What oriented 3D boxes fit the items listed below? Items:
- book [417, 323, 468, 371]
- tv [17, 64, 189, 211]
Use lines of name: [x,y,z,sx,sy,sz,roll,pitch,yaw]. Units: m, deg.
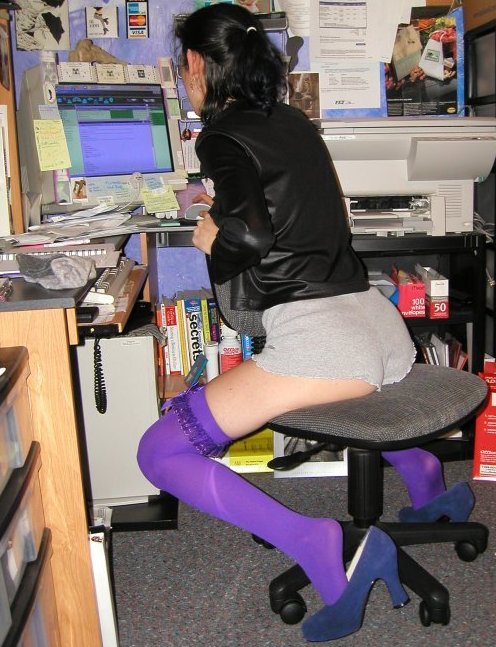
book: [0.744,0.097,1.937,0.069,0.144,0.208,-21,-17,25]
tv: [-0.536,-0.658,1.806,0.595,0.532,0.290,-7,16,-23]
